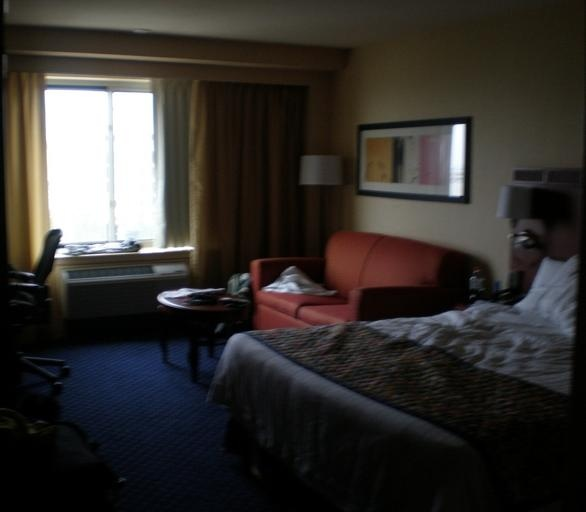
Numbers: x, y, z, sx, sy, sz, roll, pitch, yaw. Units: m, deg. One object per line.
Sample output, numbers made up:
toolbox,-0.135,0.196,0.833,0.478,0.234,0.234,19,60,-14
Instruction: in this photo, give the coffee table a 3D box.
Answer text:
coffee table,-0.730,0.537,3.562,0.545,0.364,0.333,0,0,37

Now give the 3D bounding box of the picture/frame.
picture/frame,0.922,-0.775,4.146,0.013,0.651,1.116,-10,14,-38

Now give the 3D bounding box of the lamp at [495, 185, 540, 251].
lamp,1.398,-0.227,3.155,0.225,0.394,0.291,8,10,43

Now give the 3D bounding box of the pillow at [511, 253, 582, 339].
pillow,1.279,0.206,2.601,0.090,0.305,0.305,20,-5,-7
